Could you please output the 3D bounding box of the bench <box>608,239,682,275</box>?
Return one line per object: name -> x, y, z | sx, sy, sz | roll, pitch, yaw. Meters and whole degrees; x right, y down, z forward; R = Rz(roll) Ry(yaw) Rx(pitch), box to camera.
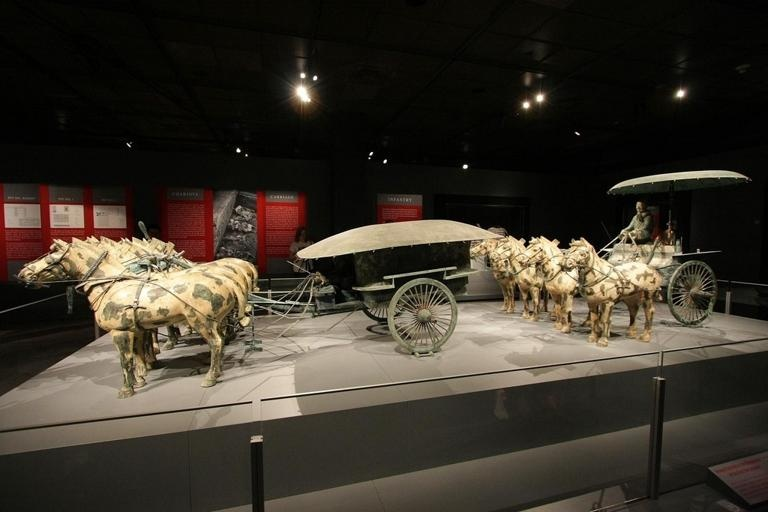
bench -> 5.611, -0.006, 11.006 | 1.129, 0.872, 0.325 | 2, -2, 31
